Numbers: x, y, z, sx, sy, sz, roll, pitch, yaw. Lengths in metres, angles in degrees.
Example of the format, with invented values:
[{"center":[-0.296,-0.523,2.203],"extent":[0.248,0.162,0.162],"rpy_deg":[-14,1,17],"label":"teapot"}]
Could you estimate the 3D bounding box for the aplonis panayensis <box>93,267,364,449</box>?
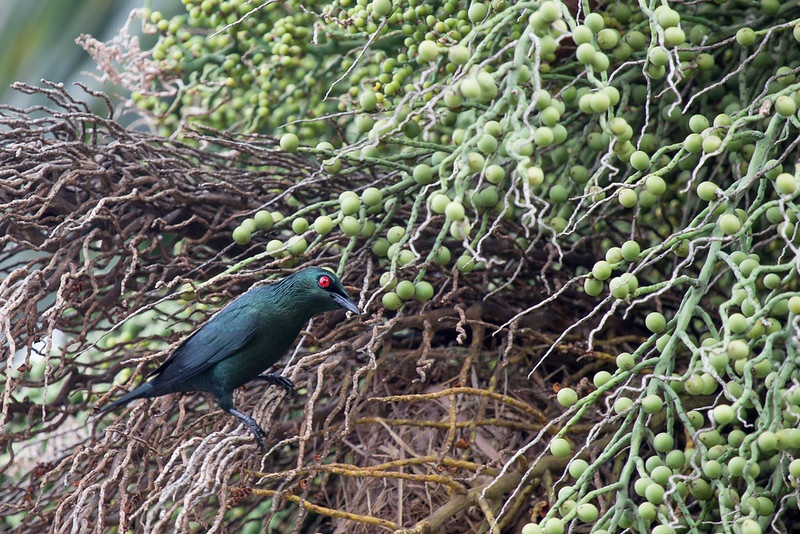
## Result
[{"center":[-0.341,0.171,2.182],"extent":[0.613,0.369,0.286],"rpy_deg":[6,11,1],"label":"aplonis panayensis"}]
